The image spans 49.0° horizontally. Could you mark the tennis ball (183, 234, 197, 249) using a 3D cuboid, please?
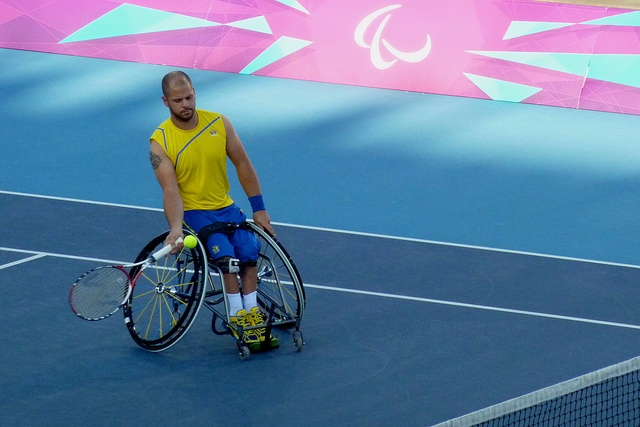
[{"bbox_3d":[-1.202,0.264,6.479,0.129,0.143,0.155,-6,6,-21],"label":"tennis ball"}]
